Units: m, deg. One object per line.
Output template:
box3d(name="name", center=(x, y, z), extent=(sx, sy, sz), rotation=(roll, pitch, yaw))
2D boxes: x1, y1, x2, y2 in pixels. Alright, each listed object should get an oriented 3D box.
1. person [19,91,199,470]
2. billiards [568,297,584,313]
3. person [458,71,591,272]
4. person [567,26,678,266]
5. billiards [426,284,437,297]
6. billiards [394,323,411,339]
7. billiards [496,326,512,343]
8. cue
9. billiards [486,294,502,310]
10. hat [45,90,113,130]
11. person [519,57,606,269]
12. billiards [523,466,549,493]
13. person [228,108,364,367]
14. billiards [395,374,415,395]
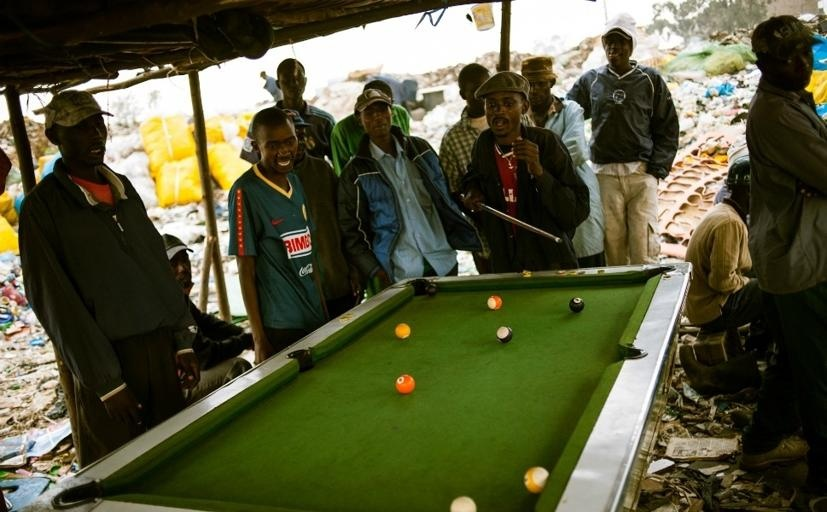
box3d(name="person", center=(-1.981, 0.459, 4.136), extent=(0.859, 3.028, 0.998), rotation=(14, 22, 43))
box3d(name="billiards", center=(1.071, 0.324, 4.022), extent=(0.098, 0.088, 0.093), rotation=(3, 14, 10))
box3d(name="person", center=(0.976, -0.590, 5.338), extent=(0.895, 1.880, 0.867), rotation=(-5, 9, 9))
box3d(name="person", center=(2.306, -1.225, 6.794), extent=(1.170, 2.849, 0.888), rotation=(-3, 15, 15))
box3d(name="billiards", center=(0.133, 0.256, 4.532), extent=(0.079, 0.072, 0.089), rotation=(3, -5, 2))
box3d(name="billiards", center=(-0.073, 0.495, 3.998), extent=(0.100, 0.095, 0.094), rotation=(1, -17, 3))
box3d(name="billiards", center=(0.558, 0.487, 3.769), extent=(0.093, 0.095, 0.090), rotation=(-6, 10, 7))
box3d(name="cue", center=(0.841, -0.326, 5.113), extent=(0.841, 0.113, 0.040), rotation=(26, 47, 0))
box3d(name="billiards", center=(0.557, 0.328, 4.233), extent=(0.092, 0.093, 0.095), rotation=(8, 36, 46))
box3d(name="hat", center=(-2.199, -0.970, 3.945), extent=(0.462, 0.237, 0.329), rotation=(2, 19, 40))
box3d(name="person", center=(1.417, -0.697, 6.655), extent=(1.076, 2.990, 0.913), rotation=(-9, 28, 3))
box3d(name="billiards", center=(0.537, 1.017, 2.780), extent=(0.116, 0.114, 0.110), rotation=(-6, 44, -7))
box3d(name="person", center=(-1.067, -0.173, 4.595), extent=(0.673, 1.856, 0.429), rotation=(-12, 11, -18))
box3d(name="billiards", center=(-0.046, 0.721, 3.433), extent=(0.120, 0.099, 0.101), rotation=(-8, 10, -3))
